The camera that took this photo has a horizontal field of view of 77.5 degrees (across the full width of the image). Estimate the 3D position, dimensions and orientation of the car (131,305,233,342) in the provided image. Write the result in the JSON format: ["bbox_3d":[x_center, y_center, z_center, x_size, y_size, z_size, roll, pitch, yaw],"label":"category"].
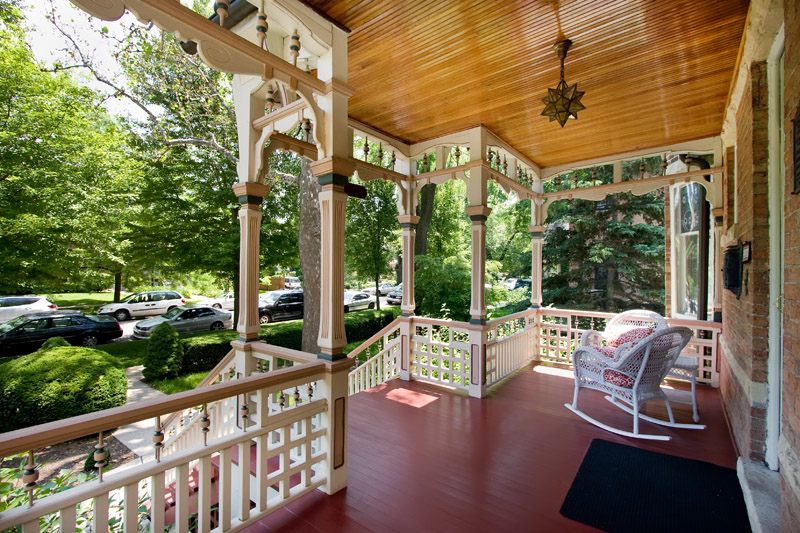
[{"bbox_3d":[-6.263,1.602,14.685,2.494,0.764,1.120,4,-6,-37],"label":"car"}]

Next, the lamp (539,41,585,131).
[{"bbox_3d":[1.825,-2.045,5.610,0.445,0.874,0.424,-4,4,-11],"label":"lamp"}]

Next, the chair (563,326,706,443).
[{"bbox_3d":[3.104,1.453,6.940,1.256,1.490,1.652,0,-2,-32],"label":"chair"}]

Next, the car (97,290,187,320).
[{"bbox_3d":[-9.157,1.348,17.753,2.510,0.888,1.094,2,-3,-40],"label":"car"}]
